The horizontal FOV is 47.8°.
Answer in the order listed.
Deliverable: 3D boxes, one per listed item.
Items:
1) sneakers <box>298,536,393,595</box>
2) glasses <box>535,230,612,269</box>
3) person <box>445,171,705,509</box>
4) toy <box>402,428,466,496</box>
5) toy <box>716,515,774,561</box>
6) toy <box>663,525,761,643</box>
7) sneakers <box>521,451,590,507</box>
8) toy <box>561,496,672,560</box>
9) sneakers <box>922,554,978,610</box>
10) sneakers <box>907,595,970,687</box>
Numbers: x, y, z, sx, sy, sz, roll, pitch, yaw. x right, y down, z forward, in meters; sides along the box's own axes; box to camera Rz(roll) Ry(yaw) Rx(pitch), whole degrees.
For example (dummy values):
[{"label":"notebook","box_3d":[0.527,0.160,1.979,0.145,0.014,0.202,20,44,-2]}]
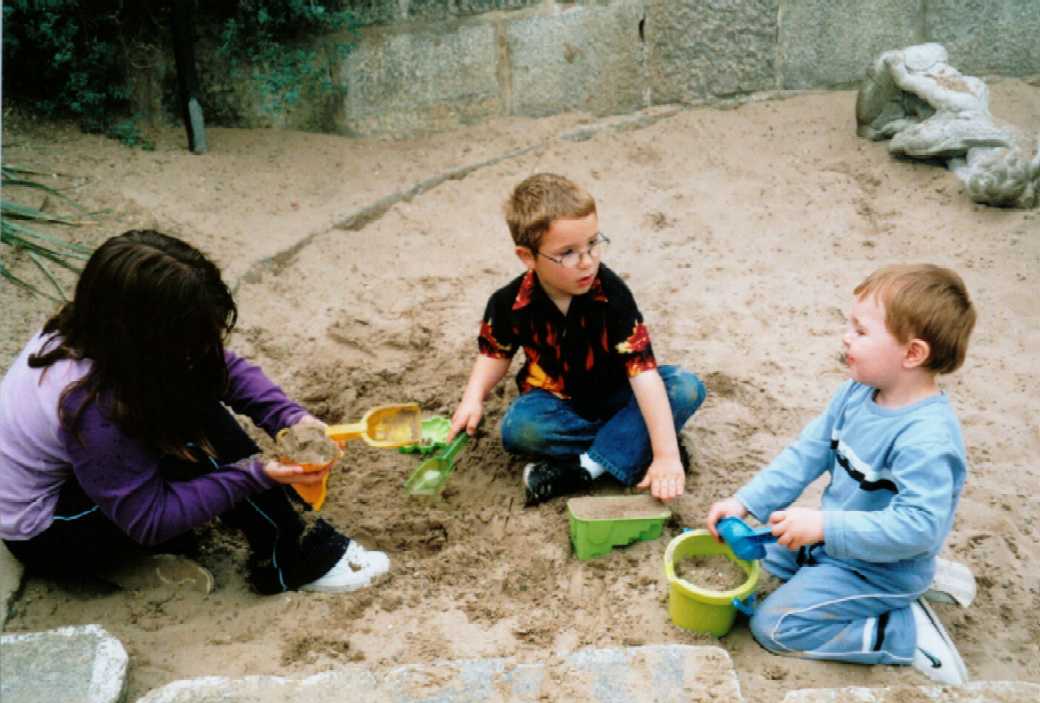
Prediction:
[{"label":"sneakers","box_3d":[-0.671,0.837,4.493,0.321,0.147,0.152,-10,35,-12]},{"label":"glasses","box_3d":[0.194,-0.387,4.578,0.233,0.113,0.089,-7,21,-8]},{"label":"person","box_3d":[0.235,0.010,5.007,0.838,1.083,0.893,-26,47,-15]},{"label":"toy","box_3d":[-0.354,0.487,4.809,0.084,0.114,0.500,-47,0,-39]},{"label":"toy","box_3d":[0.822,0.687,4.268,0.180,0.160,0.086,-9,-21,-33]},{"label":"toy","box_3d":[0.689,0.784,4.215,0.359,0.243,0.363,6,39,-3]},{"label":"sneakers","box_3d":[0.145,0.529,4.832,0.263,0.163,0.107,-11,-11,10]},{"label":"toy","box_3d":[0.363,0.672,4.530,0.341,0.146,0.220,0,6,-10]},{"label":"sneakers","box_3d":[1.636,0.872,4.411,0.179,0.074,0.182,14,47,6]},{"label":"sneakers","box_3d":[1.481,1.048,4.210,0.167,0.088,0.289,-15,51,-11]}]
